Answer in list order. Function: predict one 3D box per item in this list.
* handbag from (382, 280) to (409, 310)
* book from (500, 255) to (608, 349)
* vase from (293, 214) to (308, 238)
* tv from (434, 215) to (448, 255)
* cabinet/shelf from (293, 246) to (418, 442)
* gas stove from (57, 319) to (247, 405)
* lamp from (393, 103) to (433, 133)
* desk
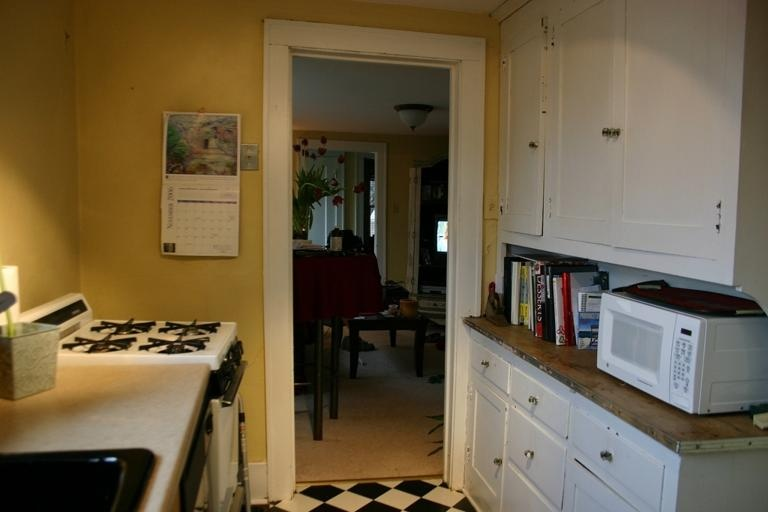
[{"bbox_3d":[0.125,0.428,6.381,0.395,0.254,0.254,-1,8,-10],"label":"handbag"},{"bbox_3d":[0.891,0.223,3.040,0.417,0.556,0.580,1,1,15],"label":"book"},{"bbox_3d":[-0.631,-0.219,4.417,0.150,0.238,0.144,-1,6,-13],"label":"vase"},{"bbox_3d":[0.819,-0.295,8.197,0.101,0.505,0.210,-10,18,-42],"label":"tv"},{"bbox_3d":[-0.411,0.547,4.677,1.147,1.735,1.168,-1,3,-9],"label":"cabinet/shelf"},{"bbox_3d":[-1.068,0.435,2.745,0.876,0.182,0.605,3,13,4],"label":"gas stove"},{"bbox_3d":[0.323,-1.541,6.494,0.279,0.170,0.269,1,-2,-2],"label":"lamp"},{"bbox_3d":[0.014,0.725,5.356,0.666,0.497,0.666,-1,3,-10],"label":"desk"}]
